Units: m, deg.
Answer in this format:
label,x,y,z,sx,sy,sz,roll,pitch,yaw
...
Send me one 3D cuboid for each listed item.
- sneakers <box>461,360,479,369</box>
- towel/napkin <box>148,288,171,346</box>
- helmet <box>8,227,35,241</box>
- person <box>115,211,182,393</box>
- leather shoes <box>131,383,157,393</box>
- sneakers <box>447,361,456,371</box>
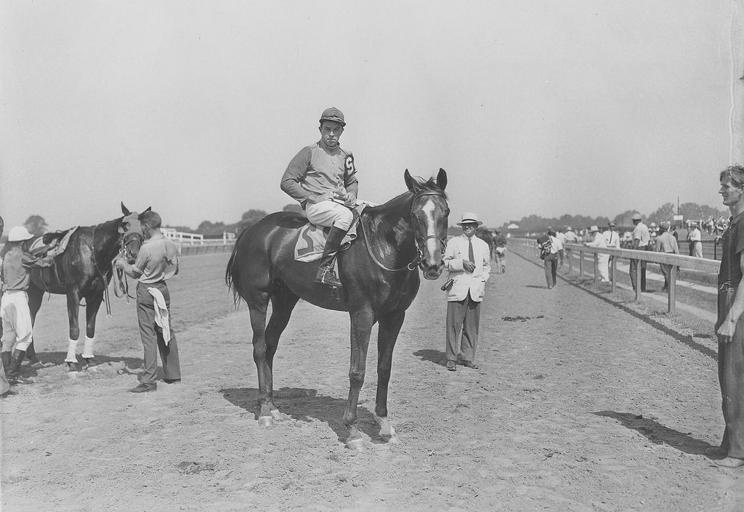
label,x,y,z,sx,sy,sz,roll,pitch,yaw
sneakers,1.671,1.839,10.438,0.103,0.152,0.302,-9,8,-35
towel/napkin,-3.337,0.945,9.564,0.325,0.943,0.182,-4,7,-30
helmet,-5.615,-0.345,9.708,0.369,0.232,0.303,-11,14,-35
person,-3.489,0.693,9.643,0.825,2.793,1.428,-3,7,-20
leather shoes,-3.499,1.994,9.280,0.305,0.145,0.164,5,-2,0
sneakers,1.336,1.865,10.329,0.121,0.170,0.147,0,-2,-42
